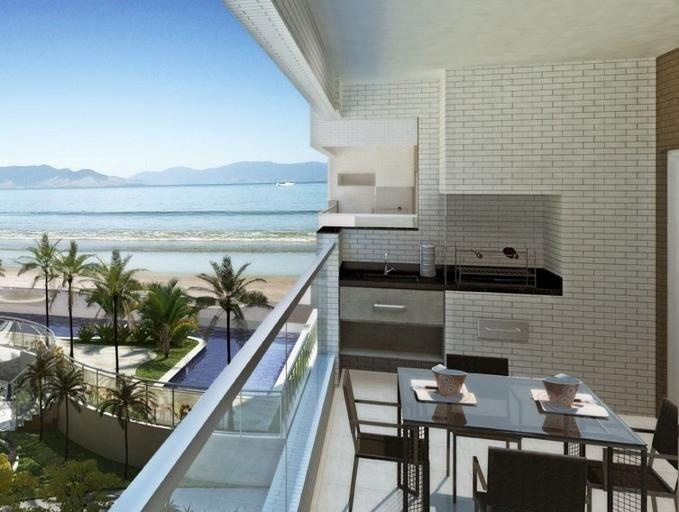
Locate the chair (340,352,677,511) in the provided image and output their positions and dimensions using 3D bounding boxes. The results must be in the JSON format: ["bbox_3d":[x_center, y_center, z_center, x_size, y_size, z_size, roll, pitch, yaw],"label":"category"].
[{"bbox_3d":[1.187,1.423,3.412,2.129,0.996,0.922,2,5,8],"label":"chair"}]

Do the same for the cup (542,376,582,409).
[{"bbox_3d":[1.519,0.936,3.453,0.250,0.177,0.259,4,-7,0],"label":"cup"}]

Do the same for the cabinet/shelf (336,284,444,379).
[{"bbox_3d":[0.693,0.867,6.085,1.342,0.991,0.506,0,-5,22],"label":"cabinet/shelf"}]

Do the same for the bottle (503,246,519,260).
[{"bbox_3d":[2.006,-0.030,5.899,0.142,0.067,0.183,2,9,6],"label":"bottle"}]

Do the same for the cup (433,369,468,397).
[{"bbox_3d":[0.768,0.876,3.477,0.252,0.151,0.173,0,-8,3],"label":"cup"}]

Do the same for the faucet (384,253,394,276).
[{"bbox_3d":[0.614,0.086,6.089,0.114,0.251,0.183,1,5,-1],"label":"faucet"}]

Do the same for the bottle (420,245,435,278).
[{"bbox_3d":[1.058,0.059,5.970,0.190,0.387,0.214,2,6,9],"label":"bottle"}]
